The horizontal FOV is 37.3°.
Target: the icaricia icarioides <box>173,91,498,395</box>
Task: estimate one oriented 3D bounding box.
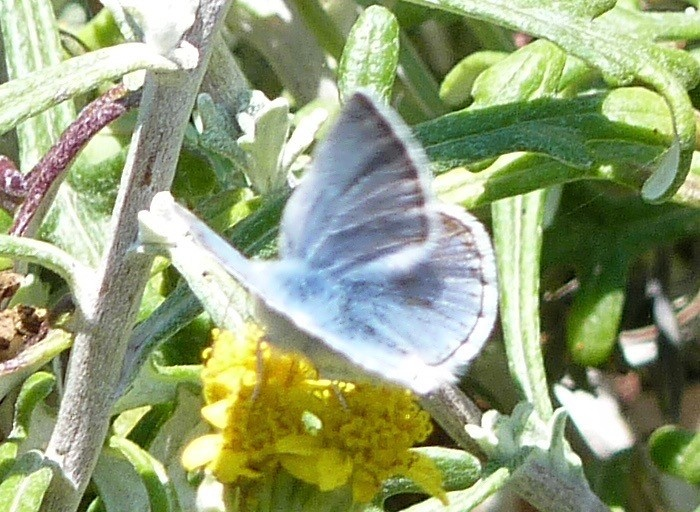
[{"bbox_3d":[-0.024,0.051,1.190,0.302,0.193,0.361,38,50,0],"label":"icaricia icarioides"}]
